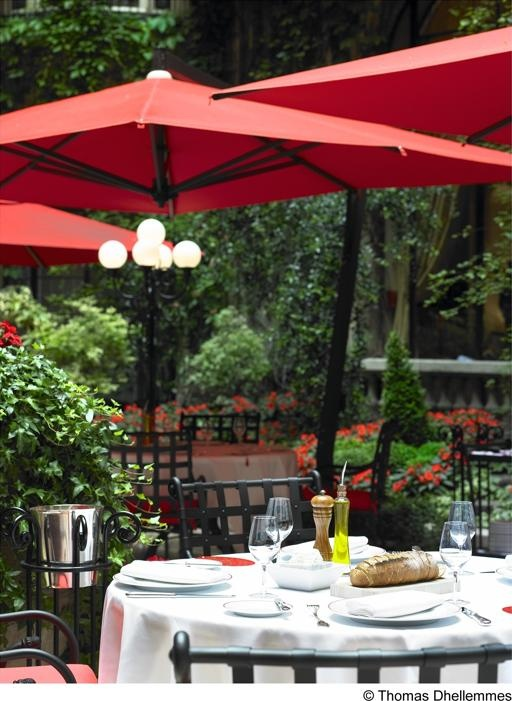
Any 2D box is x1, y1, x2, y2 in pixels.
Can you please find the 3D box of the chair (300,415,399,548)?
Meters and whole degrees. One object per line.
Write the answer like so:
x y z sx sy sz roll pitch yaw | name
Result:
0.616 0.733 7.557 0.681 0.963 0.605 4 -7 4 | chair

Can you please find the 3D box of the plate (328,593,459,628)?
0.385 0.700 3.554 0.231 0.051 0.136 0 -1 -25 | plate

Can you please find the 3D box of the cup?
-0.571 0.624 4.224 0.255 0.268 0.256 -1 -9 0 | cup

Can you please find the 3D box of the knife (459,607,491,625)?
0.599 0.719 3.586 0.027 0.012 0.116 -4 4 -16 | knife
